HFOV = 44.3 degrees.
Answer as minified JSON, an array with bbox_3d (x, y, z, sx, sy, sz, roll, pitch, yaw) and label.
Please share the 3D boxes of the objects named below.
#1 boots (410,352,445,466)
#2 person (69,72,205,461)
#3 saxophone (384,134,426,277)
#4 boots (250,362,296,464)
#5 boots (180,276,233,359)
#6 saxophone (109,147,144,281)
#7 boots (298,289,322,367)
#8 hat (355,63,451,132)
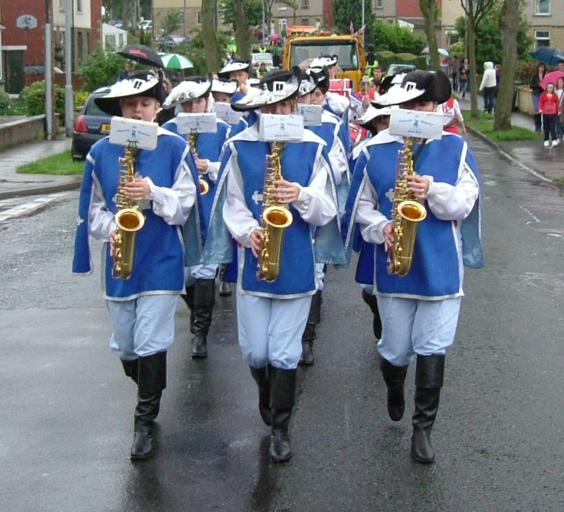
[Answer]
[{"bbox_3d":[0.799,0.823,3.829,0.122,0.578,0.328,5,5,14],"label":"boots"},{"bbox_3d":[-0.849,0.000,4.161,0.675,2.233,0.794,-1,4,-16],"label":"person"},{"bbox_3d":[0.688,-0.265,3.818,0.209,0.763,0.355,1,8,12],"label":"saxophone"},{"bbox_3d":[-0.047,0.912,3.981,0.295,0.461,0.626,1,15,-5],"label":"boots"},{"bbox_3d":[-0.693,0.520,5.956,0.296,0.642,0.522,0,20,-18],"label":"boots"},{"bbox_3d":[-0.878,-0.235,3.917,0.180,0.768,0.370,-2,8,-15],"label":"saxophone"},{"bbox_3d":[0.262,0.500,6.081,0.094,0.357,0.243,5,23,-27],"label":"boots"},{"bbox_3d":[0.828,-0.938,4.061,0.265,0.181,0.383,-8,10,35],"label":"hat"}]
